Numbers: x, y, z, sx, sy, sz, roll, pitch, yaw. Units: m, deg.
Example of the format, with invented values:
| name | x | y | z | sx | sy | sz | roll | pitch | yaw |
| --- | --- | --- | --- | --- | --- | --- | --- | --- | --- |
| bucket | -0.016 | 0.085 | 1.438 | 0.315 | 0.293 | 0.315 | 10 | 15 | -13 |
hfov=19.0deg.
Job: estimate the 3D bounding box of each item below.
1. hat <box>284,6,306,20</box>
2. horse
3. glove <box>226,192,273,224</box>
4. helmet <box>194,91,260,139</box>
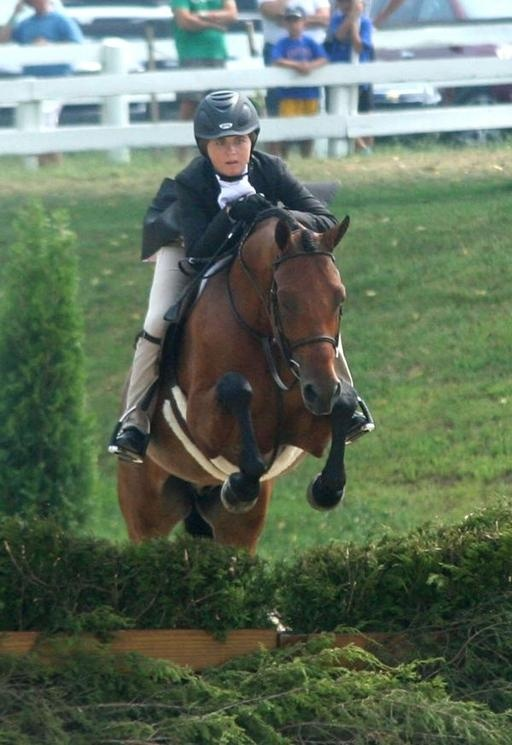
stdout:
| name | x | y | z | sx | sy | sz | roll | pitch | yaw |
| --- | --- | --- | --- | --- | --- | --- | --- | --- | --- |
| hat | 0.264 | -2.399 | 10.175 | 0.131 | 0.078 | 0.193 | 2 | -11 | 6 |
| horse | -0.011 | 0.101 | 7.105 | 0.703 | 1.669 | 1.718 | 3 | 5 | -16 |
| glove | -0.034 | -0.746 | 6.931 | 0.184 | 0.059 | 0.134 | -17 | -41 | 20 |
| helmet | -0.145 | -1.218 | 7.198 | 0.301 | 0.251 | 0.256 | 5 | 5 | 20 |
